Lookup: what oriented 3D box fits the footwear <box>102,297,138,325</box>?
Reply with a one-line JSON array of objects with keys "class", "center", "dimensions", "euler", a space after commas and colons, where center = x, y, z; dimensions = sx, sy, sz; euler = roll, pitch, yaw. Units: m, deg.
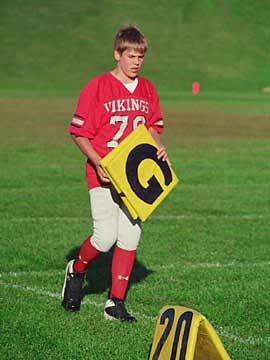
[{"class": "footwear", "center": [-0.108, 0.937, 4.832], "dimensions": [0.127, 0.152, 0.352], "euler": [0, 2, -31]}]

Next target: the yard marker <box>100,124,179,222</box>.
[{"class": "yard marker", "center": [0.030, -0.052, 4.723], "dimensions": [0.171, 0.629, 0.628], "euler": [-4, 36, 50]}]

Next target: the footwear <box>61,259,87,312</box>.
[{"class": "footwear", "center": [-0.457, 0.786, 5.057], "dimensions": [0.130, 0.379, 0.164], "euler": [8, -20, -29]}]
